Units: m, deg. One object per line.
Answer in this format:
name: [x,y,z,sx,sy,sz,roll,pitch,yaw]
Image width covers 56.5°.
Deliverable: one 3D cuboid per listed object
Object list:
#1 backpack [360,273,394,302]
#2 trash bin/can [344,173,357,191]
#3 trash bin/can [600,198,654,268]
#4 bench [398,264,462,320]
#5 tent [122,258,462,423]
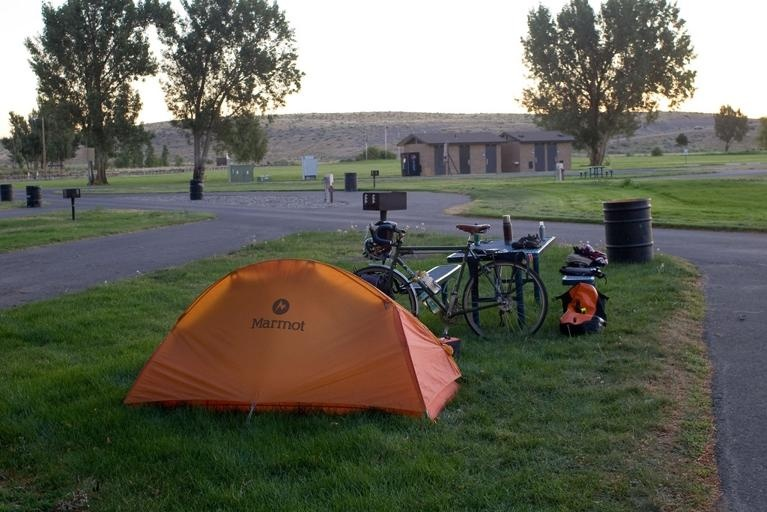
backpack: [-0.136,0.443,11.044,0.434,0.185,0.324,29,3,17]
trash bin/can: [-2.156,-4.637,44.701,0.665,1.084,1.092,-1,7,-21]
trash bin/can: [5.238,-0.524,15.287,1.132,1.433,1.261,-3,6,4]
bench: [0.796,0.269,11.280,0.649,0.922,1.264,7,18,30]
tent: [-1.214,1.020,9.311,3.730,1.910,0.681,3,6,7]
